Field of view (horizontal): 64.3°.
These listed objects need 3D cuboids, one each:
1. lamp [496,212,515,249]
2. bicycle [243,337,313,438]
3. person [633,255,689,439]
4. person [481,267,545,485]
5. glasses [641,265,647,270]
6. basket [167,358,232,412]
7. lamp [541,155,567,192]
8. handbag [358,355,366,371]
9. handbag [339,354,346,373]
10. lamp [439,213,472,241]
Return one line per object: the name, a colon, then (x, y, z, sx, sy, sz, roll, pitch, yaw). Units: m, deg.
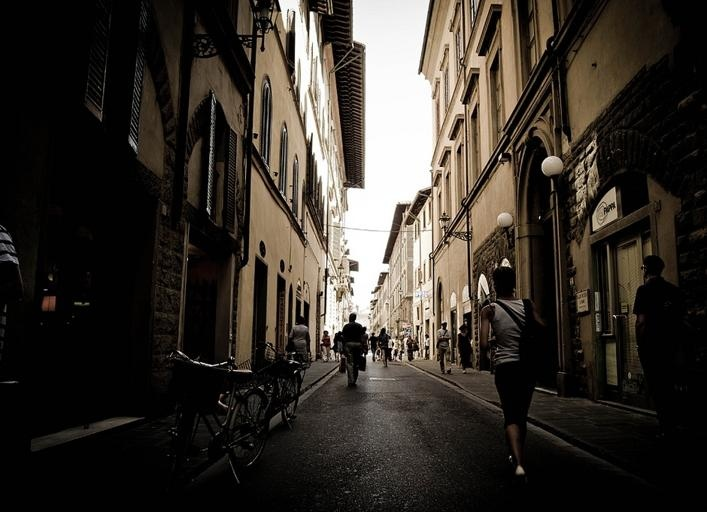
lamp: (4.306, -0.770, 15.903, 0.379, 1.109, 0.444, 2, 26, 25)
bicycle: (-1.331, 1.905, 8.621, 0.818, 1.339, 2.036, -4, -22, 10)
person: (3.977, 1.157, 7.297, 0.569, 2.353, 0.251, -3, -4, 35)
person: (1.781, 1.250, 6.312, 0.676, 2.276, 0.556, -2, -4, 22)
glasses: (4.048, 0.163, 7.838, 0.033, 0.055, 0.155, 5, -5, 13)
basket: (-1.640, 1.439, 5.916, 0.455, 0.438, 0.502, 14, -16, -20)
lamp: (4.355, -1.839, 12.167, 0.442, 0.890, 0.507, -6, -1, 12)
handbag: (0.230, 2.881, 15.157, 0.181, 0.356, 0.629, 0, -5, -3)
handbag: (-0.390, 3.820, 20.000, 0.160, 0.638, 0.311, 0, -9, -3)
lamp: (4.695, -1.337, 25.644, 0.450, 1.395, 1.458, -1, -2, -21)
